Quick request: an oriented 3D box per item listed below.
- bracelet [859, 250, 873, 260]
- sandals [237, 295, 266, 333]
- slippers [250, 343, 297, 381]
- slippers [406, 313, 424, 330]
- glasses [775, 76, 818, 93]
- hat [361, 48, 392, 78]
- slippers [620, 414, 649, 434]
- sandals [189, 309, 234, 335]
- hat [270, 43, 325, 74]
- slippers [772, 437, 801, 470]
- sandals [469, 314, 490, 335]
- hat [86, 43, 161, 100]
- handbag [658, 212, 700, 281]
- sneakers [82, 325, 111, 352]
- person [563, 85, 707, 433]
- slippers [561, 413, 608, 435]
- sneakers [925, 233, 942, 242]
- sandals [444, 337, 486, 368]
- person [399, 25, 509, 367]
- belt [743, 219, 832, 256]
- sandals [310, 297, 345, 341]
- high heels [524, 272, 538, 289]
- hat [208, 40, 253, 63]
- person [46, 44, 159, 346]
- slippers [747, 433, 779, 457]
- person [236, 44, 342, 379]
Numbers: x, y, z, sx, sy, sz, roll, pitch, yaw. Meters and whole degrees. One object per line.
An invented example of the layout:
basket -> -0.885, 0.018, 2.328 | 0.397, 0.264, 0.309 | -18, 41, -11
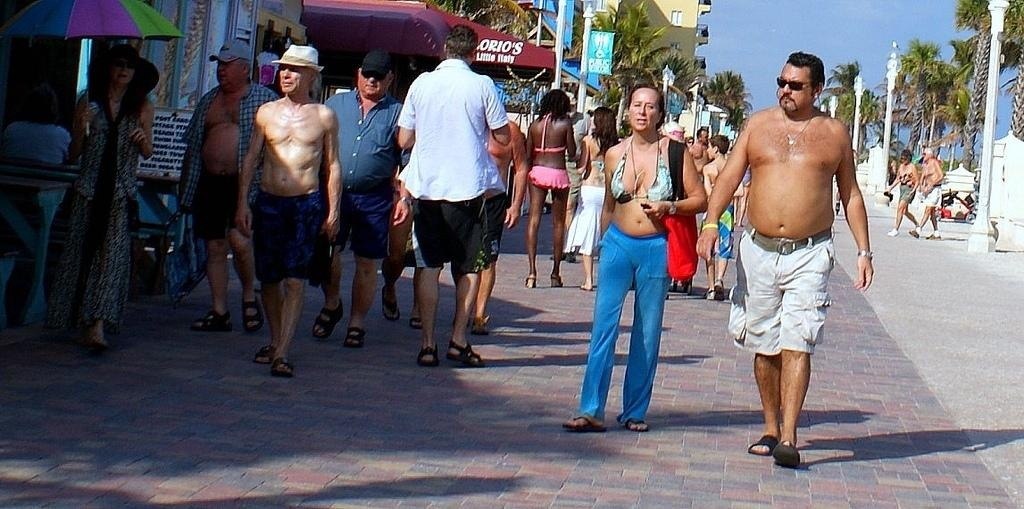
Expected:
bracelet -> 3.356, -0.014, 7.124 | 0.107, 0.075, 0.119 | 4, 2, 36
sandals -> -3.276, 0.766, 9.475 | 0.187, 0.552, 0.163 | -9, -21, -1
slippers -> -2.605, 1.137, 8.195 | 0.244, 0.184, 0.605 | -3, 14, -19
slippers -> -1.306, 0.886, 10.083 | 0.179, 0.203, 0.533 | 1, -2, -10
glasses -> 2.598, -1.599, 6.971 | 0.239, 0.104, 0.042 | 10, 12, 26
hat -> -1.620, -2.278, 8.817 | 0.333, 0.283, 0.240 | 1, 11, -15
slippers -> 1.205, 1.672, 7.438 | 0.145, 0.085, 0.264 | -3, 6, -28
sandals -> -3.721, 0.812, 9.291 | 0.468, 0.206, 0.239 | 3, 1, -8
hat -> -2.249, -2.153, 8.214 | 0.329, 0.145, 0.389 | 11, -2, 15
slippers -> 2.524, 1.818, 6.887 | 0.258, 0.240, 0.205 | 7, 11, 15
sandals -> -0.388, 0.926, 10.156 | 0.133, 0.278, 0.410 | 11, 12, 34
hat -> -4.480, -2.174, 8.571 | 0.762, 0.674, 0.205 | 5, 27, -14
handbag -> 1.611, -0.080, 7.259 | 0.358, 0.648, 0.266 | 5, 11, 5
sneakers -> -4.576, 0.877, 8.211 | 0.240, 0.333, 0.233 | -1, 12, -25
person -> 1.220, 0.025, 7.382 | 1.075, 3.356, 0.791 | 4, 10, 0
slippers -> 0.706, 1.648, 7.324 | 0.333, 0.106, 0.180 | 2, 0, -11
sneakers -> 13.980, -0.618, 24.867 | 0.529, 0.207, 0.278 | 4, 8, 29
sandals -> -0.569, 1.144, 8.753 | 0.483, 0.228, 0.224 | 24, 3, -17
person -> -0.701, -0.672, 8.604 | 1.219, 3.827, 0.737 | 4, 10, -3
belt -> 2.557, -0.153, 6.978 | 0.758, 0.253, 0.186 | 7, 11, 11
sandals -> -2.322, 0.823, 9.484 | 0.245, 0.599, 0.219 | 31, -10, 13
high heels -> 0.325, 0.442, 13.189 | 0.223, 0.228, 0.551 | 2, 9, -1
hat -> -3.427, -2.484, 9.145 | 0.523, 0.275, 0.350 | 1, 7, -21
person -> -4.575, -0.665, 8.357 | 0.844, 3.346, 0.945 | 5, 11, 7
slippers -> 2.369, 1.789, 7.072 | 0.289, 0.114, 0.153 | 3, 10, 26
person -> -2.481, -0.562, 8.360 | 0.886, 3.452, 0.908 | 11, 13, 33
